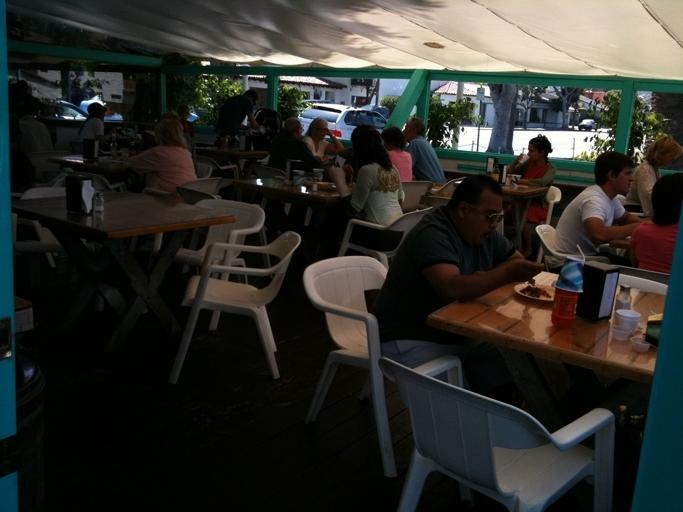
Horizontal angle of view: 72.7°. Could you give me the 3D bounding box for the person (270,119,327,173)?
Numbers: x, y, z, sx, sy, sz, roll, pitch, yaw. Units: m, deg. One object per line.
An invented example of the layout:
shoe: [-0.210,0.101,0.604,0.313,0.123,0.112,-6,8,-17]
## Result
person: [-0.700,-1.626,6.742,0.697,0.709,1.524,-1,18,-13]

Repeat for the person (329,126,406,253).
person: [0.288,-0.619,5.269,0.870,1.654,0.697,8,23,17]

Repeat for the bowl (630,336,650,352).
bowl: [1.187,0.353,1.841,0.052,0.025,0.055,0,7,0]

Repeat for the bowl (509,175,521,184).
bowl: [2.608,-1.162,6.991,0.174,0.072,0.137,-6,14,-35]

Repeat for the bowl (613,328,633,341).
bowl: [1.173,0.317,1.925,0.053,0.028,0.056,3,8,0]

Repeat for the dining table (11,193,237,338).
dining table: [-1.692,-0.358,3.461,1.030,0.996,1.837,-5,11,-34]

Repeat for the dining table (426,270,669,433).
dining table: [1.021,0.499,2.233,0.805,0.525,0.839,20,34,37]

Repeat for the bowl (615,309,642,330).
bowl: [1.243,0.264,2.013,0.082,0.072,0.092,-2,5,-15]

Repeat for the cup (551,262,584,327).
cup: [0.994,0.154,2.040,0.096,0.280,0.158,11,18,29]

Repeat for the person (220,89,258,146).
person: [-2.218,-2.767,9.141,0.831,1.011,1.348,4,17,6]

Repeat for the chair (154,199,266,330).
chair: [-1.071,-0.205,4.249,1.192,1.285,0.948,13,15,39]

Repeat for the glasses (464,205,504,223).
glasses: [0.780,-0.216,2.397,0.254,0.077,0.088,-7,19,-29]

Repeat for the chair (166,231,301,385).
chair: [-0.749,0.318,3.277,0.873,0.986,0.505,0,16,-10]

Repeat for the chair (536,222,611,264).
chair: [1.871,-0.112,3.722,0.326,0.458,0.302,3,18,40]
